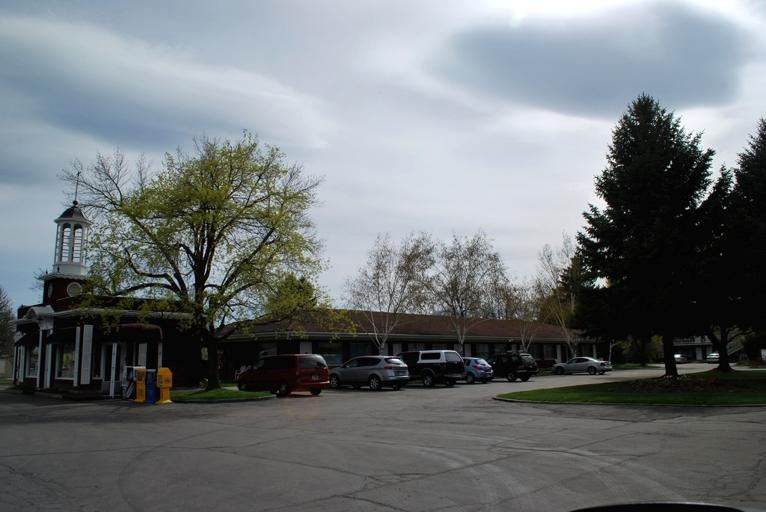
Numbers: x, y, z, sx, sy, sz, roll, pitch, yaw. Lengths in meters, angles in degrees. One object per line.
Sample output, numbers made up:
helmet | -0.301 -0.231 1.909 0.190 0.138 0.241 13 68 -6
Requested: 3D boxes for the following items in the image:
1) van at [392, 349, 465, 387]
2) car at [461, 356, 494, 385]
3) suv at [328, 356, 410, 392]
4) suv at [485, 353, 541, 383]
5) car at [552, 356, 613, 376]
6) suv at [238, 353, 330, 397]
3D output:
van | 3.075 7.234 37.976 4.121 1.627 2.043 -2 -9 40
car | 6.513 7.784 39.658 2.189 1.086 1.353 -4 -9 34
suv | -0.844 7.050 35.931 4.394 1.680 2.151 -3 -10 37
suv | 9.401 7.858 41.627 3.062 1.543 1.739 1 -5 40
car | 17.432 9.688 51.199 3.769 1.197 2.126 -3 -9 29
suv | -5.536 6.522 32.319 4.827 2.190 1.393 -4 -4 26
